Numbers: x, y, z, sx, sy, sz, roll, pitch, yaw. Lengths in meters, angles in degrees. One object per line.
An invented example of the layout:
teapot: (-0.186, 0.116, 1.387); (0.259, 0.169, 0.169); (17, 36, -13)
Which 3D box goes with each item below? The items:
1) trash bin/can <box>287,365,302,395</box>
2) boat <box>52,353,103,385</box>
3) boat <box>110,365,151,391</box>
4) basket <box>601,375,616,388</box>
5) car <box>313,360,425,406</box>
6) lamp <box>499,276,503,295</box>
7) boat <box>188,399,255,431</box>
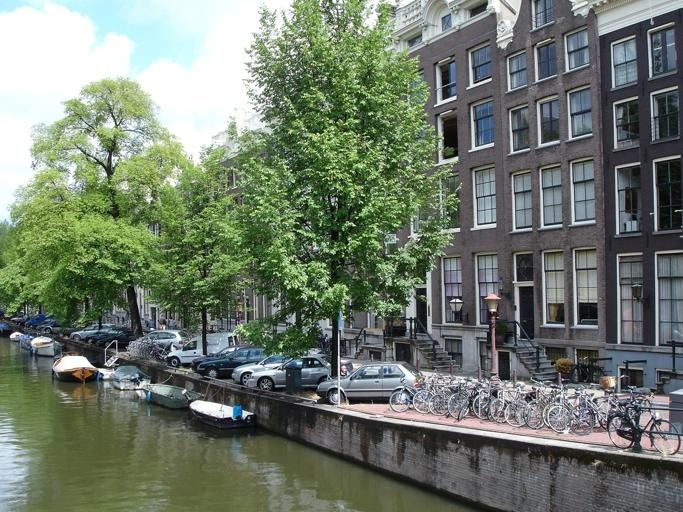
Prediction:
trash bin/can: (-2.264, 5.723, 37.560); (0.582, 1.611, 1.006); (9, -14, -35)
boat: (-17.648, 7.317, 52.952); (3.045, 1.810, 1.578); (-4, -12, 19)
boat: (-13.203, 7.403, 49.488); (1.453, 0.862, 2.508); (2, -5, -39)
basket: (10.499, 4.846, 31.409); (0.615, 0.528, 0.617); (1, -11, -16)
car: (1.344, 5.605, 36.004); (3.547, 1.423, 1.939); (1, -6, 6)
lamp: (8.310, 1.445, 42.025); (0.129, 0.943, 0.385); (3, -12, -18)
boat: (-5.820, 7.645, 39.038); (1.501, 1.350, 3.356); (11, -16, -43)
